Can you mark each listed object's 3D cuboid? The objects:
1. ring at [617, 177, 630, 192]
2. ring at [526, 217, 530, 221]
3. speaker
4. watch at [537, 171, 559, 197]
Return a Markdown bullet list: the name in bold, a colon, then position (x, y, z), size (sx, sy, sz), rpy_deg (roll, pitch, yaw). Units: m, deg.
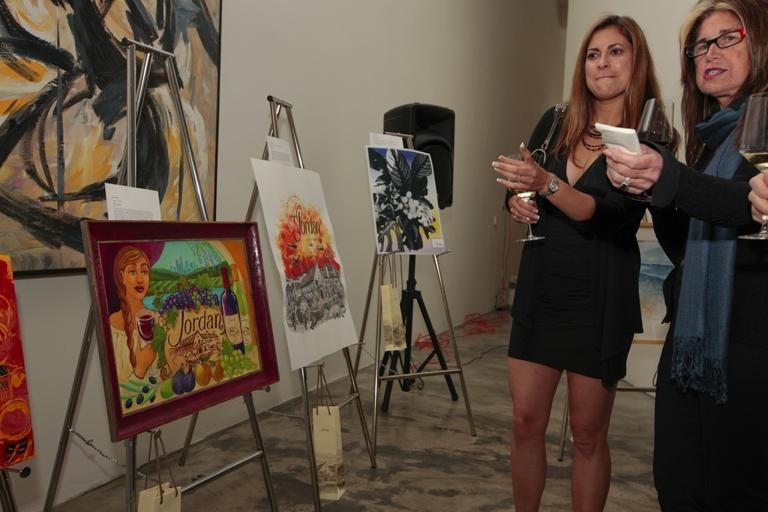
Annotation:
- **ring**: position (0.843, -0.252, 2.176), size (0.014, 0.038, 0.032), rpy_deg (19, -6, -7)
- **ring**: position (0.643, -0.168, 2.761), size (0.012, 0.018, 0.006), rpy_deg (4, -10, -5)
- **speaker**: position (0.256, -0.715, 4.455), size (0.505, 0.740, 0.401), rpy_deg (-1, 8, 3)
- **watch**: position (0.689, -0.287, 2.590), size (0.041, 0.081, 0.078), rpy_deg (19, -5, -20)
